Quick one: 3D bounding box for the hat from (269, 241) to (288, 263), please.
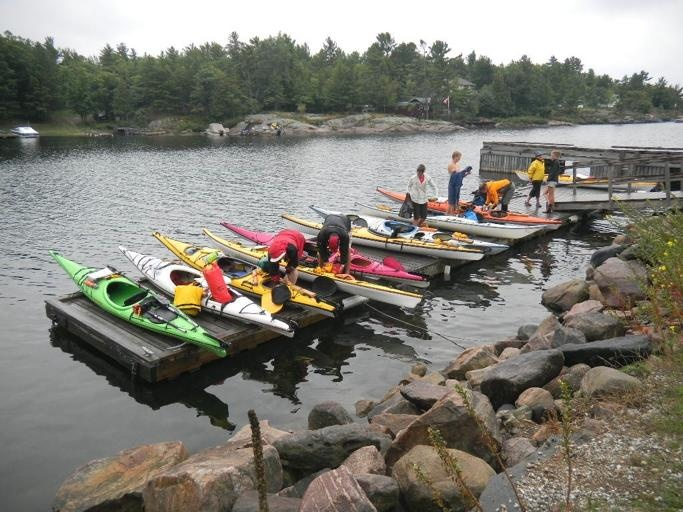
[{"bbox_3d":[-1.596,-0.139,15.087,0.411,0.535,0.496,6,15,16],"label":"hat"}]

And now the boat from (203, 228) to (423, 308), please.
[{"bbox_3d":[-0.653,0.397,16.777,5.696,0.511,0.840,18,29,13],"label":"boat"}]

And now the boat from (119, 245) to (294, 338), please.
[{"bbox_3d":[-3.374,0.964,15.349,5.854,0.498,1.025,18,31,33],"label":"boat"}]

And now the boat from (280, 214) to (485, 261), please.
[{"bbox_3d":[1.500,-0.549,18.969,5.046,0.424,0.742,13,35,26],"label":"boat"}]

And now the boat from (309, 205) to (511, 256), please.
[{"bbox_3d":[2.502,-0.827,20.047,6.350,0.546,1.007,13,29,29],"label":"boat"}]

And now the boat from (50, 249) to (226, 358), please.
[{"bbox_3d":[-4.992,1.257,15.033,5.635,0.782,0.910,20,35,16],"label":"boat"}]

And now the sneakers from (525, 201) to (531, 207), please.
[{"bbox_3d":[7.718,-2.200,25.182,0.195,0.118,0.446,23,12,35],"label":"sneakers"}]

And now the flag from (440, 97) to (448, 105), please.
[{"bbox_3d":[19.110,-29.402,113.547,0.324,1.249,2.810,47,0,-4],"label":"flag"}]

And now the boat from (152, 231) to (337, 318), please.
[{"bbox_3d":[-2.517,0.562,16.130,5.491,0.708,0.815,20,43,22],"label":"boat"}]

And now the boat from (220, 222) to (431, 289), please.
[{"bbox_3d":[-0.300,0.025,17.567,5.582,0.802,0.742,15,60,2],"label":"boat"}]

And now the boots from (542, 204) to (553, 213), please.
[{"bbox_3d":[8.099,-1.907,23.883,0.169,0.305,0.260,-3,-23,20],"label":"boots"}]
